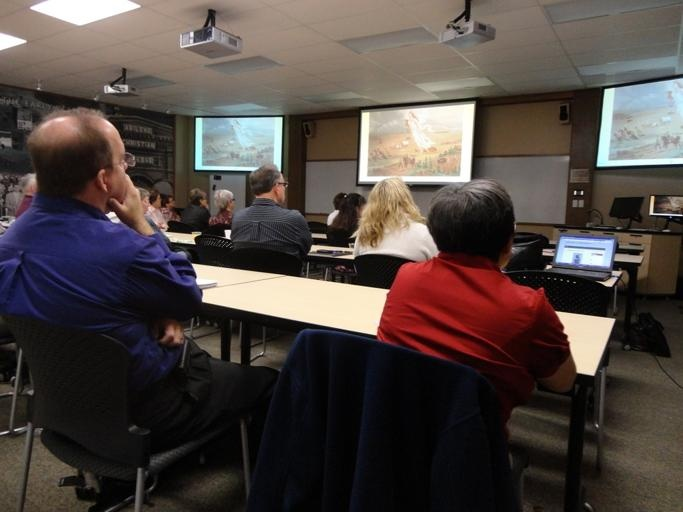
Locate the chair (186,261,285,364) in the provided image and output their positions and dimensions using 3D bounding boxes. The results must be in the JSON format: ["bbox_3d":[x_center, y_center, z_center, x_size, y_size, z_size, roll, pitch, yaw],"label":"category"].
[{"bbox_3d":[-0.582,0.181,2.528,0.445,0.416,0.814,-5,8,-39],"label":"chair"}]

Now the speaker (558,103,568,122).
[{"bbox_3d":[3.344,-2.130,7.236,0.143,0.275,0.119,5,11,25],"label":"speaker"}]

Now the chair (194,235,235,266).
[{"bbox_3d":[-0.923,-0.040,3.559,0.168,0.218,0.155,9,16,29],"label":"chair"}]

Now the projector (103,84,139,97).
[{"bbox_3d":[-3.066,-2.321,6.716,0.362,0.195,0.476,-8,13,-38],"label":"projector"}]

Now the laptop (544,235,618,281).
[{"bbox_3d":[1.690,-0.003,3.398,0.434,0.340,0.481,-5,8,-40],"label":"laptop"}]

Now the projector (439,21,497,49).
[{"bbox_3d":[1.129,-2.015,4.416,0.269,0.110,0.340,-6,7,-41],"label":"projector"}]

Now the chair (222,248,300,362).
[{"bbox_3d":[-0.428,0.251,2.883,0.492,0.696,0.466,5,6,28],"label":"chair"}]

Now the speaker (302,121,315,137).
[{"bbox_3d":[-0.641,-2.507,9.598,0.224,0.370,0.275,6,14,29],"label":"speaker"}]

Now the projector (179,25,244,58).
[{"bbox_3d":[-1.279,-2.171,4.969,0.453,0.207,0.539,5,11,24],"label":"projector"}]
